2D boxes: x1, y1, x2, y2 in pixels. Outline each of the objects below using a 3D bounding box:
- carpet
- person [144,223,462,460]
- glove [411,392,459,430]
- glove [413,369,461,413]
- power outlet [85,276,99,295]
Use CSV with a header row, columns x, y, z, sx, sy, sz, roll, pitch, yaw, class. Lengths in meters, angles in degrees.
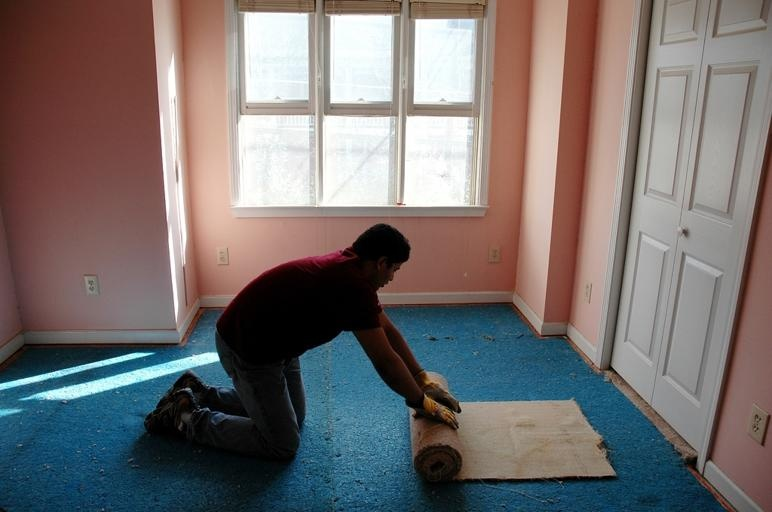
x,y,z,sx,sy,sz,roll,pitch,yaw,class
0.782,1.108,2.900,0.651,0.142,0.513,-1,15,-1,carpet
-0.404,0.393,3.207,2.199,1.566,0.947,5,16,-6,person
0.265,0.869,2.778,0.316,0.117,0.117,29,60,9,glove
0.261,0.836,2.957,0.328,0.093,0.189,37,18,1,glove
-2.229,0.218,3.766,0.104,0.154,0.029,1,20,5,power outlet
